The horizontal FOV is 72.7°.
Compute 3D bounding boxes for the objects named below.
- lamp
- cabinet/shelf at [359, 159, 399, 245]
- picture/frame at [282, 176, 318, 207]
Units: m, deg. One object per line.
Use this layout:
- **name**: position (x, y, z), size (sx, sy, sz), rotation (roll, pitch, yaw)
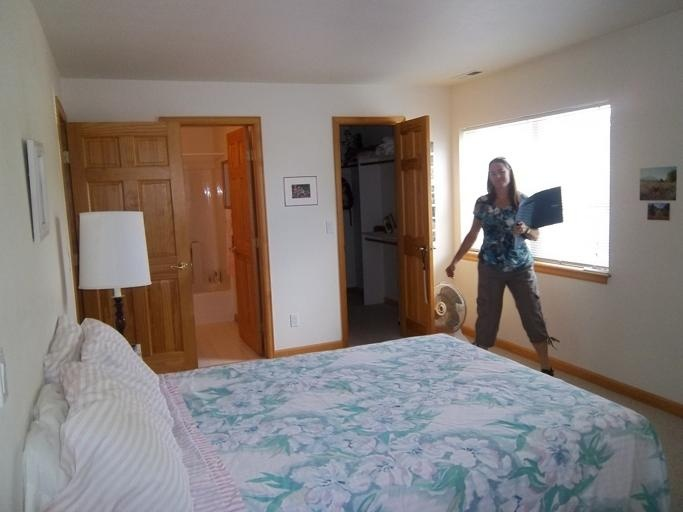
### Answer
- **lamp**: position (-1.542, 0.220, 3.184), size (0.412, 1.072, 0.389), rotation (-3, 13, -21)
- **cabinet/shelf**: position (0.599, -0.828, 7.822), size (0.490, 1.758, 0.860), rotation (5, 19, 15)
- **picture/frame**: position (-0.471, -0.708, 5.062), size (0.311, 0.292, 0.011), rotation (-3, 2, -22)
